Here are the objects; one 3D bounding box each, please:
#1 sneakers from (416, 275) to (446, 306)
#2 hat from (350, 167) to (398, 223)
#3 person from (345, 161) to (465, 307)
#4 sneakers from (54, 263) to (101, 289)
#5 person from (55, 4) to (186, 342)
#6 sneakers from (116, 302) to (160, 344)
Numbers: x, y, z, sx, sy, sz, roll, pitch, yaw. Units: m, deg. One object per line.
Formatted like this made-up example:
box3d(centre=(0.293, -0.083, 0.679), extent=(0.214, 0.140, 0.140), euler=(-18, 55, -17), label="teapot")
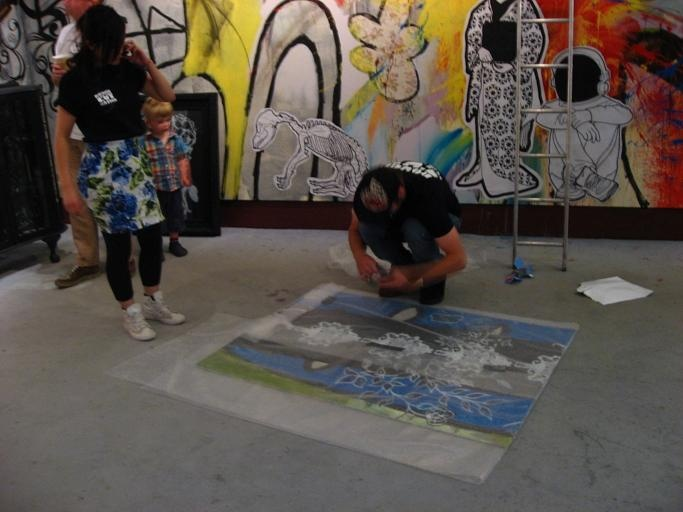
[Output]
box3d(centre=(0.578, 0.211, 3.222), extent=(0.101, 0.127, 0.179), euler=(21, 15, 29), label="sneakers")
box3d(centre=(0.219, -0.364, 2.907), extent=(0.243, 0.344, 0.274), euler=(23, -3, 10), label="hat")
box3d(centre=(0.424, -0.206, 3.304), extent=(0.738, 0.974, 0.948), euler=(0, 27, 18), label="person")
box3d(centre=(-1.968, 0.132, 3.772), extent=(0.117, 0.149, 0.348), euler=(30, 38, 30), label="sneakers")
box3d(centre=(-1.246, -0.426, 2.805), extent=(0.599, 1.810, 0.332), euler=(-4, 14, -19), label="person")
box3d(centre=(-1.196, 0.365, 2.939), extent=(0.303, 0.186, 0.118), euler=(18, 30, 35), label="sneakers")
